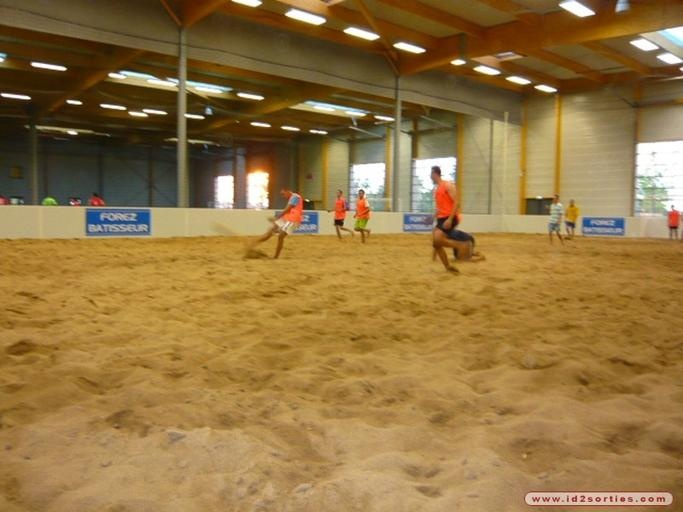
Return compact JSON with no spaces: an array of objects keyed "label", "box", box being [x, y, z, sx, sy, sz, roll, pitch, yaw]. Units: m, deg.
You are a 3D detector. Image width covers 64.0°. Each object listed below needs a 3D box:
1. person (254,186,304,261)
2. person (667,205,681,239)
[{"label":"person","box":[-1.098,-0.595,9.812,0.650,1.205,1.811,0,4,-8]},{"label":"person","box":[10.835,-1.115,17.735,0.384,1.086,0.930,3,5,29]}]
